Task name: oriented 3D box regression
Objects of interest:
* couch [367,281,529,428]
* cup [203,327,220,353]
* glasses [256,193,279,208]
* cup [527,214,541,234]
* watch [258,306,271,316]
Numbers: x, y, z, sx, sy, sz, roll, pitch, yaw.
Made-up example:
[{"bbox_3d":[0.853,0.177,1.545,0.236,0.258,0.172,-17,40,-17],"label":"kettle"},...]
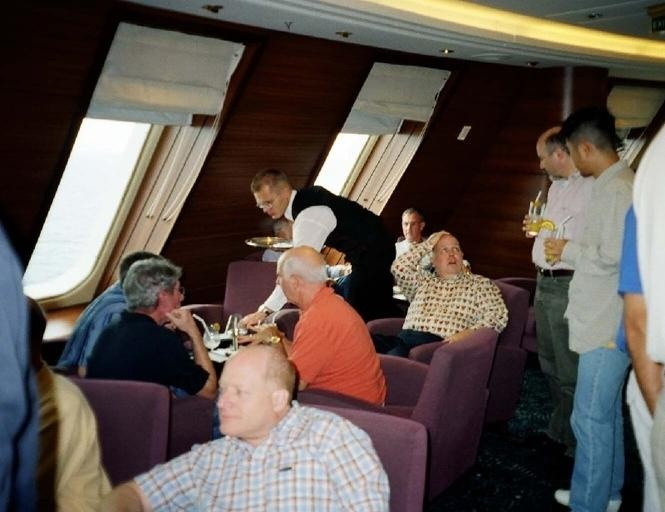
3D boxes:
[{"bbox_3d":[0.721,0.633,3.683,1.269,1.172,1.107,12,-6,-39],"label":"couch"},{"bbox_3d":[-0.812,0.550,3.148,0.092,0.144,0.075,-15,-17,8],"label":"cup"},{"bbox_3d":[-0.528,-0.439,3.797,0.112,0.063,0.143,2,-4,29],"label":"glasses"},{"bbox_3d":[1.247,-0.195,2.963,0.082,0.132,0.082,16,5,-2],"label":"cup"},{"bbox_3d":[-0.498,0.397,3.544,0.086,0.039,0.106,10,13,-15],"label":"watch"}]
